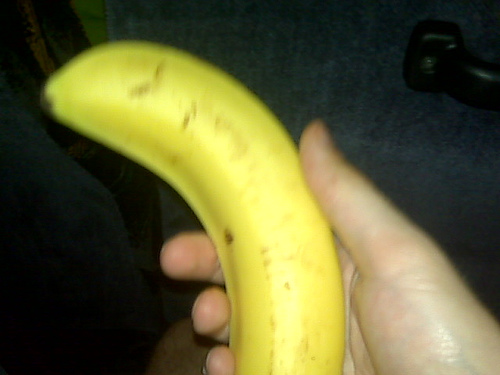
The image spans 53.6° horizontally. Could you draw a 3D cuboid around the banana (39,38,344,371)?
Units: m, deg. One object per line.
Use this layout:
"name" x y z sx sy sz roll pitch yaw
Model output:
"banana" -0.047 0.022 0.695 0.231 0.225 0.535 -35 70 -30
